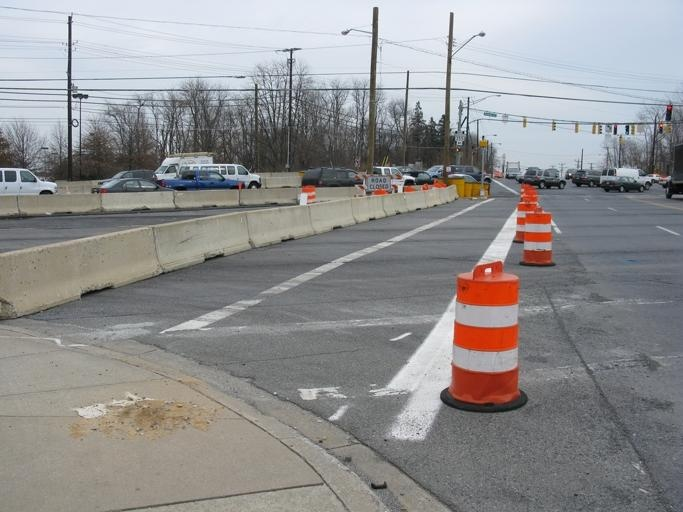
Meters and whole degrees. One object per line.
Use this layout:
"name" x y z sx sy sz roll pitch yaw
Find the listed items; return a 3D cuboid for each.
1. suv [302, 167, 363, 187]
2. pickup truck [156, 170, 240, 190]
"suv" -0.521 -4.352 41.009 3.222 1.206 1.664 -3 10 -1
"pickup truck" -7.473 -3.958 38.882 3.628 1.129 1.818 -5 12 -18
